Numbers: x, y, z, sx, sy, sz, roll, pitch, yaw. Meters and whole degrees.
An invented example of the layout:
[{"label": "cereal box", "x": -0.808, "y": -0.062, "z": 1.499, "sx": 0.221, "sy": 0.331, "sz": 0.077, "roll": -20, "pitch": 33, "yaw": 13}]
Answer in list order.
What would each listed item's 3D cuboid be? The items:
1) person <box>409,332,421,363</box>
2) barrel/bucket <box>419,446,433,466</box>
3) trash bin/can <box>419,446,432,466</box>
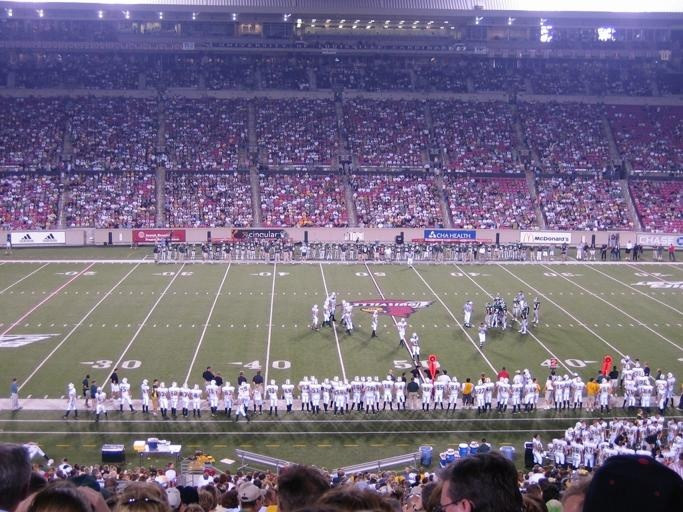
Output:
[{"label": "person", "x": 3.500, "y": 4.307, "z": 48.411, "sx": 0.428, "sy": 1.354, "sz": 0.393, "roll": 7, "pitch": -10, "yaw": -22}, {"label": "barrel/bucket", "x": 3.423, "y": 8.148, "z": 41.747, "sx": 0.659, "sy": 0.690, "sz": 0.679, "roll": -1, "pitch": 0, "yaw": 0}, {"label": "trash bin/can", "x": 3.435, "y": 8.142, "z": 41.796, "sx": 0.642, "sy": 0.680, "sz": 0.661, "roll": -1, "pitch": -1, "yaw": 0}]
